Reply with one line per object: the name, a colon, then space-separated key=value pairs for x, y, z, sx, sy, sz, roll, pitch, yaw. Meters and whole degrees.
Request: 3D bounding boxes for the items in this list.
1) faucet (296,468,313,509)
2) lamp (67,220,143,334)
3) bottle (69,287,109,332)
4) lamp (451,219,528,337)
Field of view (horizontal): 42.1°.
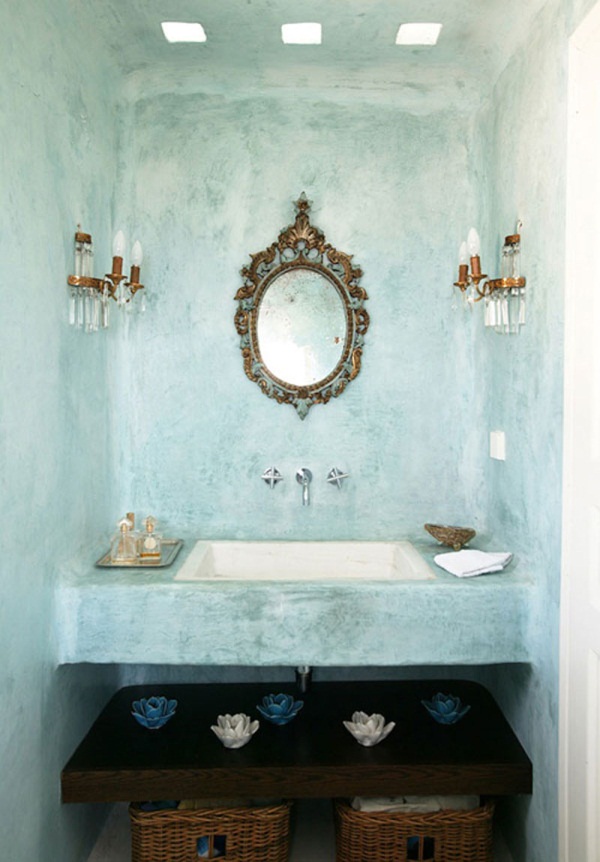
faucet: x=0.012 y=0.202 z=2.815 sx=0.062 sy=0.140 sz=0.070 roll=1 pitch=4 yaw=1
lamp: x=-0.592 y=-0.451 z=2.341 sx=0.182 sy=0.276 sz=0.206 roll=4 pitch=6 yaw=28
bottle: x=-0.635 y=-0.368 z=2.309 sx=0.012 sy=0.102 sz=0.146 roll=5 pitch=6 yaw=25
lamp: x=0.584 y=-0.473 z=2.396 sx=0.184 sy=0.357 sz=0.260 roll=0 pitch=-3 yaw=3
